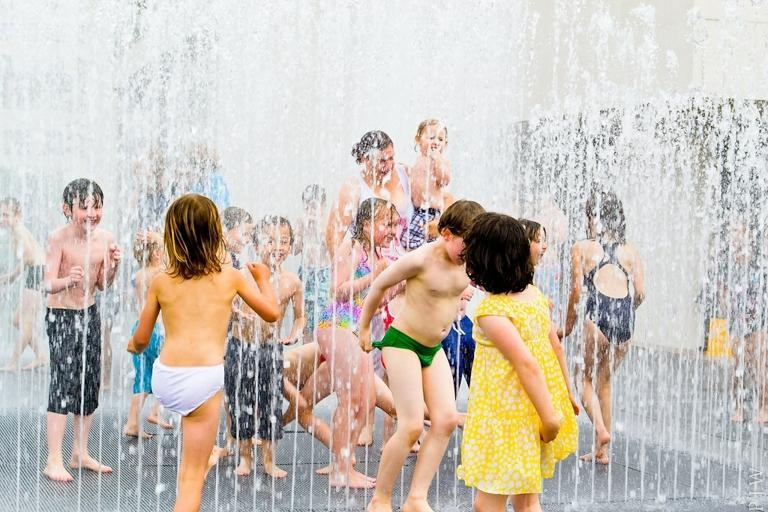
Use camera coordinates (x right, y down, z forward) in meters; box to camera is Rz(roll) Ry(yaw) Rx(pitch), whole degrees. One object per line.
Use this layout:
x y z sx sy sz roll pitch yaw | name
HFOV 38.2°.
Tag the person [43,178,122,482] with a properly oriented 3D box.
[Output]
-3.103 0.740 11.215 0.661 3.005 0.394 1 -3 -21 | person
